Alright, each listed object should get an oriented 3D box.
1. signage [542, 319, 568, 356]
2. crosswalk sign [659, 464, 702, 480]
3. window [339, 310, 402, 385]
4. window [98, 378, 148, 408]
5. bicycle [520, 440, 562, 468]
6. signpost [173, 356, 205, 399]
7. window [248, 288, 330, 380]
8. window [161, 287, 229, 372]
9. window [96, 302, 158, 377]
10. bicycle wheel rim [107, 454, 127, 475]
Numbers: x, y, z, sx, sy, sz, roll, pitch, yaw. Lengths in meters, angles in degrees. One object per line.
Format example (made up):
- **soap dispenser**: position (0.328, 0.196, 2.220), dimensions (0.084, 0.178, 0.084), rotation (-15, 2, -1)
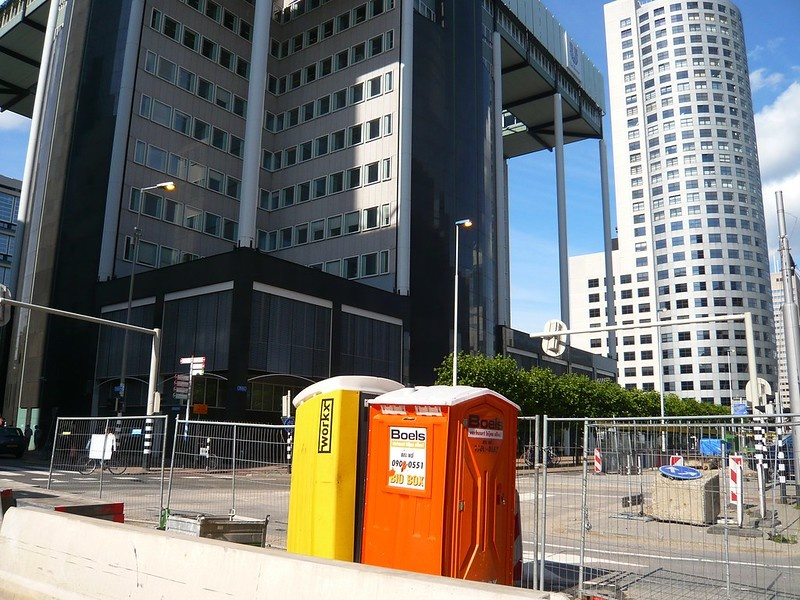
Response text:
- **signage**: position (5.516, 1.294, 23.909), dimensions (0.728, 1.688, 3.018), rotation (-3, -14, 14)
- **crosswalk sign**: position (4.359, 2.623, 10.254), dimensions (0.564, 0.216, 0.577), rotation (6, -15, -21)
- **window**: position (-1.936, 2.662, 40.412), dimensions (0.083, 3.112, 3.998), rotation (-12, -18, 35)
- **window**: position (-16.533, 5.547, 40.457), dimensions (2.100, 2.472, 1.226), rotation (-7, -14, 23)
- **bicycle**: position (2.446, 2.709, 11.864), dimensions (0.337, 0.469, 0.684), rotation (5, -20, -23)
- **signpost**: position (-8.345, 3.079, 26.713), dimensions (0.890, 1.772, 2.046), rotation (3, -13, -14)
- **window**: position (-6.780, 1.973, 39.676), dimensions (0.204, 3.714, 4.625), rotation (-11, -16, 34)
- **window**: position (-11.606, 1.690, 38.624), dimensions (4.059, 3.619, 0.144), rotation (-11, -19, 40)
- **window**: position (-15.884, 2.261, 39.382), dimensions (3.779, 4.346, 0.066), rotation (-10, -16, 42)
- **bicycle wheel rim**: position (-6.937, 4.044, 16.536), dimensions (0.429, 0.507, 0.111), rotation (5, -12, 3)
